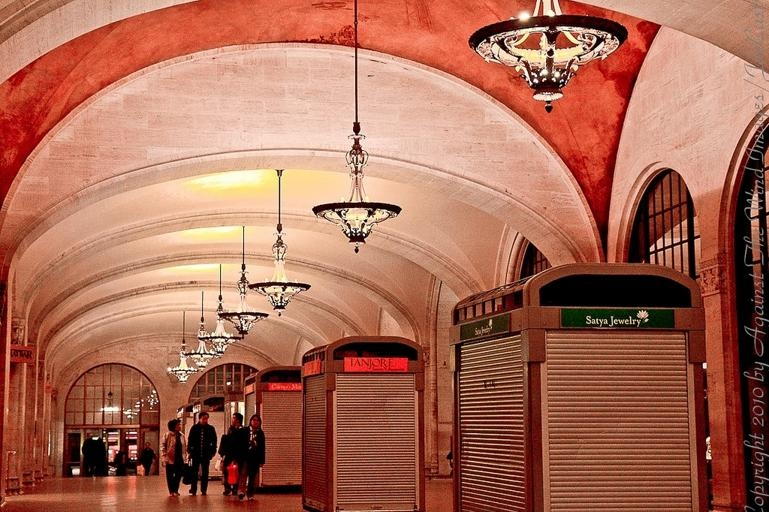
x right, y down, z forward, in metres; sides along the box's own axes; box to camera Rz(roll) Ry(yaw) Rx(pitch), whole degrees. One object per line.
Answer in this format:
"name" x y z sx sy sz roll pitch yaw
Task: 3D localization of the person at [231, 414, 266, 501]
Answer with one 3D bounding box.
"person" -2.610 3.996 21.198 0.497 1.587 1.383 0 -19 -7
